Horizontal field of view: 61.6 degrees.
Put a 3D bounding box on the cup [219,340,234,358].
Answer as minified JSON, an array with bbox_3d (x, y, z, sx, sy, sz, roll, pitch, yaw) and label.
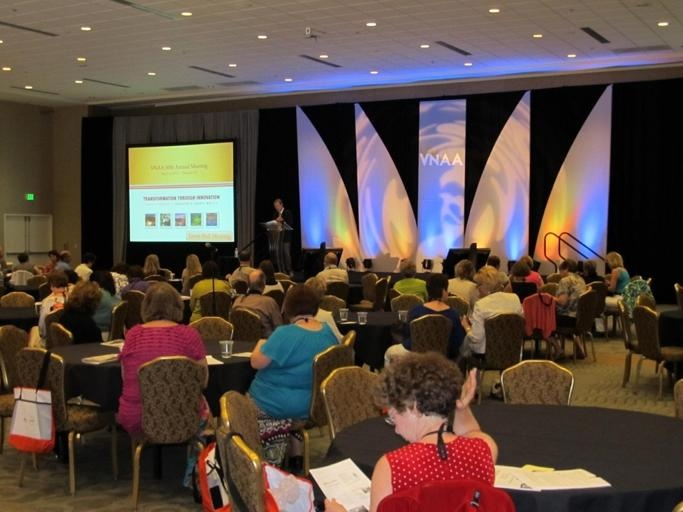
[{"bbox_3d":[-0.918,0.732,4.478,0.116,0.119,0.104,-1,-1,0],"label":"cup"}]

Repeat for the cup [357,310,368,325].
[{"bbox_3d":[0.229,0.682,6.220,0.104,0.149,0.110,0,2,0],"label":"cup"}]

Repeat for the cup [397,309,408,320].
[{"bbox_3d":[0.649,0.636,6.149,0.088,0.117,0.100,0,1,14],"label":"cup"}]

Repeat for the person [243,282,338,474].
[{"bbox_3d":[-0.340,0.808,3.815,0.564,1.167,0.293,0,8,-11],"label":"person"}]

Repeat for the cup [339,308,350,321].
[{"bbox_3d":[0.018,0.660,6.388,0.107,0.139,0.117,-1,2,0],"label":"cup"}]

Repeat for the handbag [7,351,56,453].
[{"bbox_3d":[-2.100,0.997,3.890,0.327,0.674,0.198,2,8,-1],"label":"handbag"}]

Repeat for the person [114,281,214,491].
[{"bbox_3d":[-1.197,0.935,3.818,0.603,1.481,0.403,0,8,-11],"label":"person"}]
